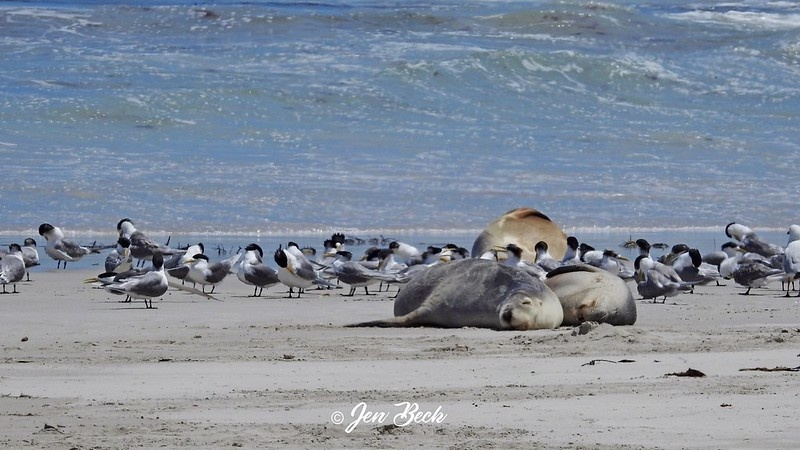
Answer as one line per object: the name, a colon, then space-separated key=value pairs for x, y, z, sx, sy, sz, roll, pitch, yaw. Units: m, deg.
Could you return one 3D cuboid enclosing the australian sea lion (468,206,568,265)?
australian sea lion: x=3.090 y=0.014 z=44.877 sx=2.821 sy=1.284 sz=1.700 roll=-3 pitch=36 yaw=-16
